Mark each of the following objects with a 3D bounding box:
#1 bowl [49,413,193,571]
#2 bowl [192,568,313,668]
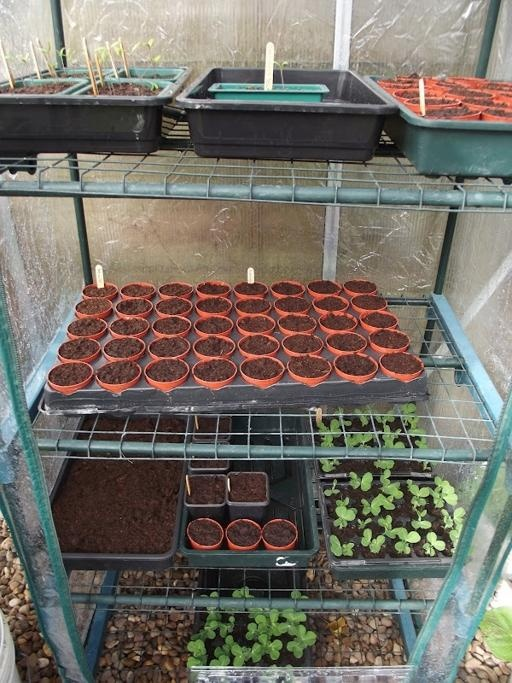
[{"bbox_3d":[-0.411,0.466,1.433,0.427,0.599,0.091,1,32,-9],"label":"bowl"},{"bbox_3d":[0.004,1.011,1.648,0.418,0.456,0.119,0,77,-1],"label":"bowl"}]
